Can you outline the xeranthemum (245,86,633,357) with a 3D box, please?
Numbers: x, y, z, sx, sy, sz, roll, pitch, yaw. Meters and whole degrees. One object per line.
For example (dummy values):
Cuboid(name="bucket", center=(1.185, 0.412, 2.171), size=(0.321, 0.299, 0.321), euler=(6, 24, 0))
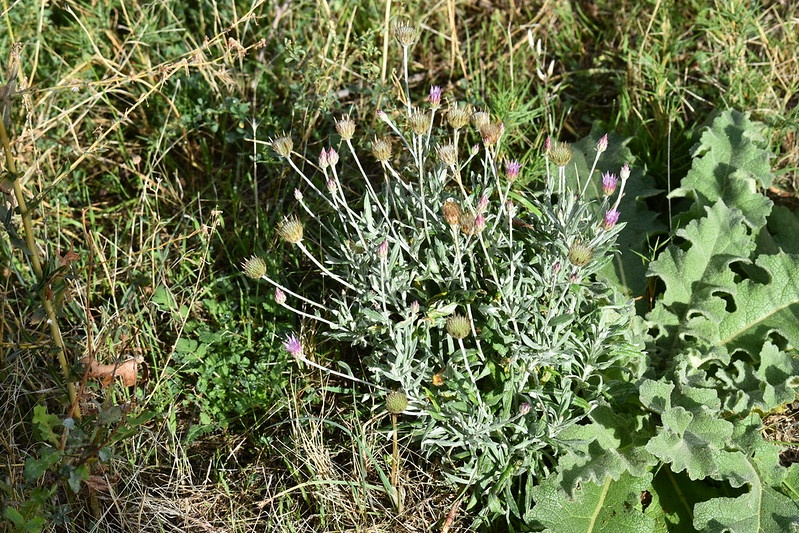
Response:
Cuboid(name="xeranthemum", center=(0.155, -0.175, 3.174), size=(1.050, 0.627, 0.992), euler=(42, 81, 2))
